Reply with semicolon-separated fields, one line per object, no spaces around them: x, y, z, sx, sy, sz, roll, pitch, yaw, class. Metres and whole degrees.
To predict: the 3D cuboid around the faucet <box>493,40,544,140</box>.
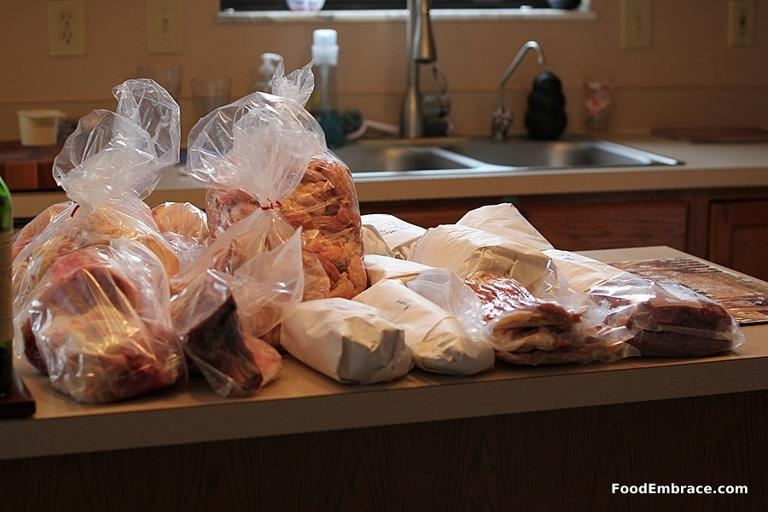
0.503;-0.642;2.469;0.178;0.384;0.463;1;15;9;faucet

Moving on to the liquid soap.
-0.224;-0.638;2.450;0.118;0.422;0.277;-3;15;-6;liquid soap

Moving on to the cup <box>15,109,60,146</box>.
-1.145;-0.427;2.132;0.126;0.112;0.145;-4;15;-11;cup

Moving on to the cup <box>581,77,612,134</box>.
0.885;-0.627;2.668;0.114;0.207;0.095;4;15;17;cup
